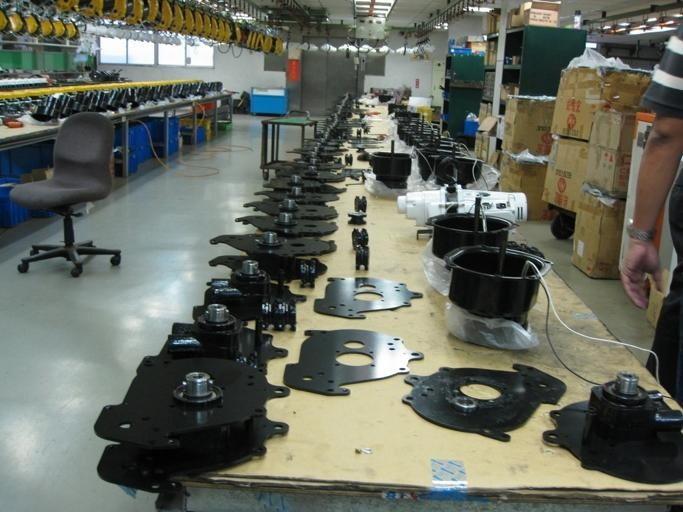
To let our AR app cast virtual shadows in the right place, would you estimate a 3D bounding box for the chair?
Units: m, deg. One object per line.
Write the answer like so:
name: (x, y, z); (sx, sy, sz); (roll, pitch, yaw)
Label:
chair: (-1.831, -0.420, 3.510); (0.624, 1.001, 0.576); (1, 19, -1)
